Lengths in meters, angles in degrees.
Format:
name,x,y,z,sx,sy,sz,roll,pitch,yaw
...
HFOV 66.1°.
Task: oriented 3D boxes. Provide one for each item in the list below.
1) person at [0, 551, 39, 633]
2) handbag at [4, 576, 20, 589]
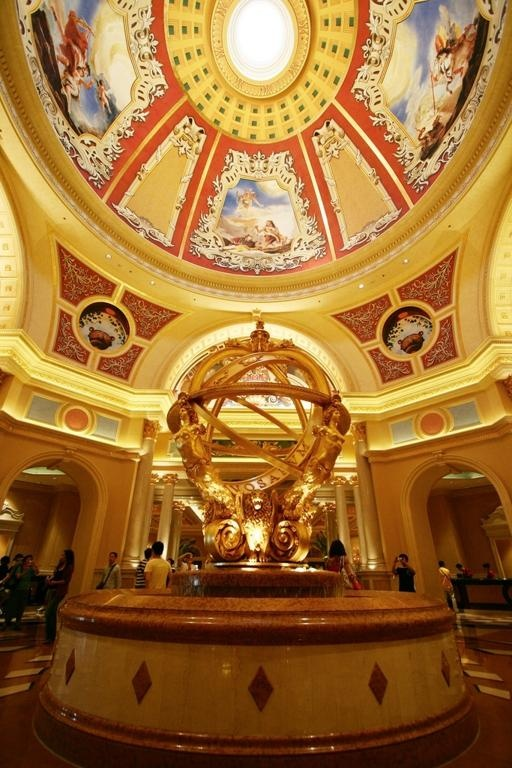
name,x,y,z,sx,sy,sz,roll,pitch,yaw
person,-3.548,3.118,5.943,0.343,1.006,1.282,16,-39,-19
handbag,-3.423,2.835,5.607,0.194,0.180,0.148,-5,-37,6
